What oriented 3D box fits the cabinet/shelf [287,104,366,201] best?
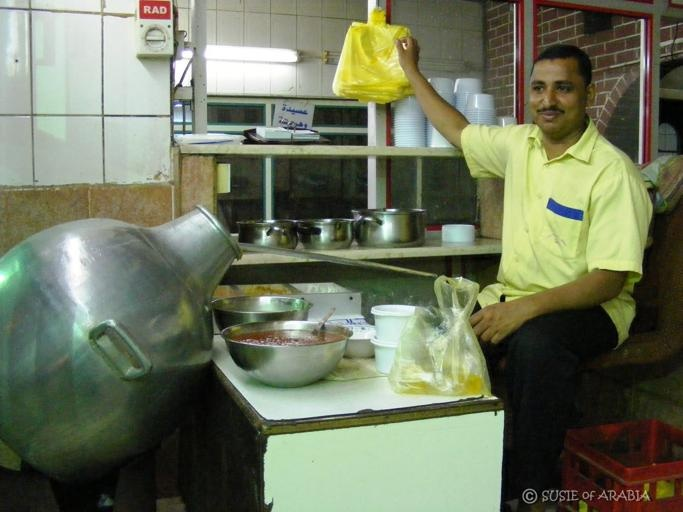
[{"bbox_3d":[-0.107,-1.219,7.592,1.256,1.285,0.925,-1,12,-3],"label":"cabinet/shelf"}]

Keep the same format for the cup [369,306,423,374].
[{"bbox_3d":[0.137,0.246,1.948,0.160,0.201,0.176,1,1,0],"label":"cup"}]

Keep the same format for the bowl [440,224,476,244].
[{"bbox_3d":[0.646,-0.127,3.666,0.123,0.070,0.128,-2,4,0],"label":"bowl"}]

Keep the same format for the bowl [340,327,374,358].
[{"bbox_3d":[0.044,0.273,2.107,0.083,0.040,0.087,0,8,0],"label":"bowl"}]

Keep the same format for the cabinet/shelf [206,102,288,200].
[{"bbox_3d":[-1.047,-1.130,7.000,0.694,1.013,0.308,-3,9,-9],"label":"cabinet/shelf"}]

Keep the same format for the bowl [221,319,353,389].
[{"bbox_3d":[-0.168,0.291,1.936,0.357,0.138,0.364,3,5,0],"label":"bowl"}]

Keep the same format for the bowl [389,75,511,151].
[{"bbox_3d":[0.593,-0.758,3.570,0.590,0.296,0.381,-1,6,-7],"label":"bowl"}]
